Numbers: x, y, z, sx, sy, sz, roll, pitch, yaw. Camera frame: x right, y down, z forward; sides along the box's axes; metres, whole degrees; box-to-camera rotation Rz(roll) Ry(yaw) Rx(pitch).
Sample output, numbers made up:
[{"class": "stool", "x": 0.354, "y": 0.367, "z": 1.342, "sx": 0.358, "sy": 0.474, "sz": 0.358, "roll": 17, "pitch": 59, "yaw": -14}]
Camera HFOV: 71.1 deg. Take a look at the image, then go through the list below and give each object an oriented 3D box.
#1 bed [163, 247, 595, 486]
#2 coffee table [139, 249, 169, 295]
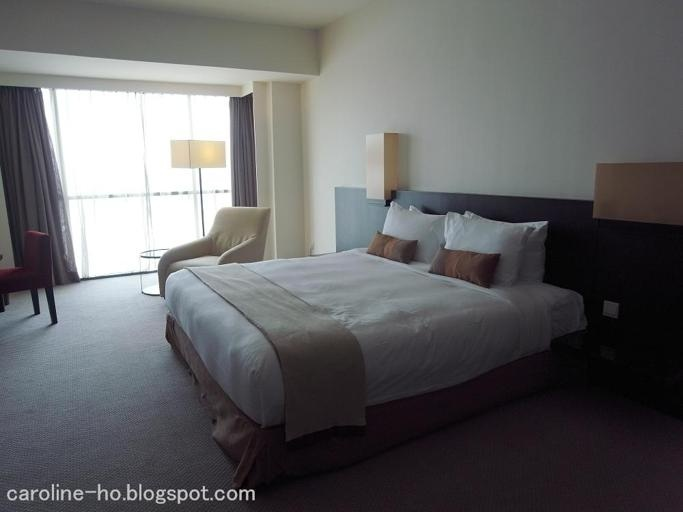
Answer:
[{"class": "bed", "x": 0.267, "y": 0.664, "z": 3.257, "sx": 1.757, "sy": 0.539, "sz": 1.817, "roll": -6, "pitch": 12, "yaw": -27}, {"class": "coffee table", "x": -2.467, "y": 0.213, "z": 6.273, "sx": 0.456, "sy": 0.548, "sz": 0.479, "roll": 1, "pitch": 17, "yaw": -9}]
